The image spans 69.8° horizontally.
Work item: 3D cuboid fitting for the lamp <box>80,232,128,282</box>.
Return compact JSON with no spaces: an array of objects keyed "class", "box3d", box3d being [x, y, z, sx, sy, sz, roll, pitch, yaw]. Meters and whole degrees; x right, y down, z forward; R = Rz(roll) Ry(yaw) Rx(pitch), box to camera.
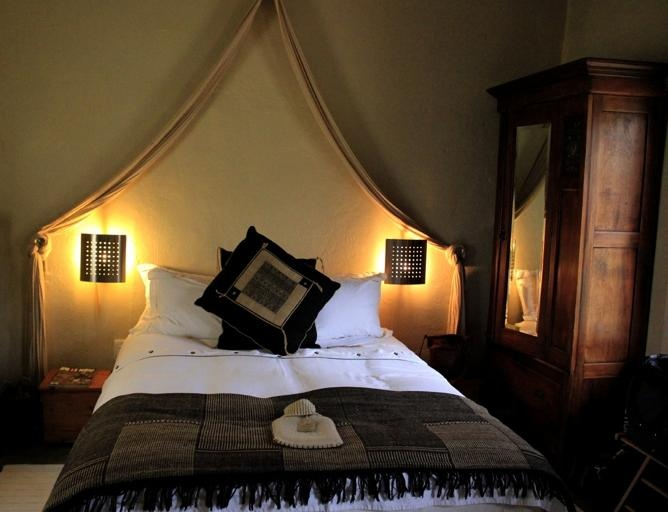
[{"class":"lamp","box3d":[-1.568,-0.005,3.238,0.289,0.331,0.076,-1,3,-3]}]
